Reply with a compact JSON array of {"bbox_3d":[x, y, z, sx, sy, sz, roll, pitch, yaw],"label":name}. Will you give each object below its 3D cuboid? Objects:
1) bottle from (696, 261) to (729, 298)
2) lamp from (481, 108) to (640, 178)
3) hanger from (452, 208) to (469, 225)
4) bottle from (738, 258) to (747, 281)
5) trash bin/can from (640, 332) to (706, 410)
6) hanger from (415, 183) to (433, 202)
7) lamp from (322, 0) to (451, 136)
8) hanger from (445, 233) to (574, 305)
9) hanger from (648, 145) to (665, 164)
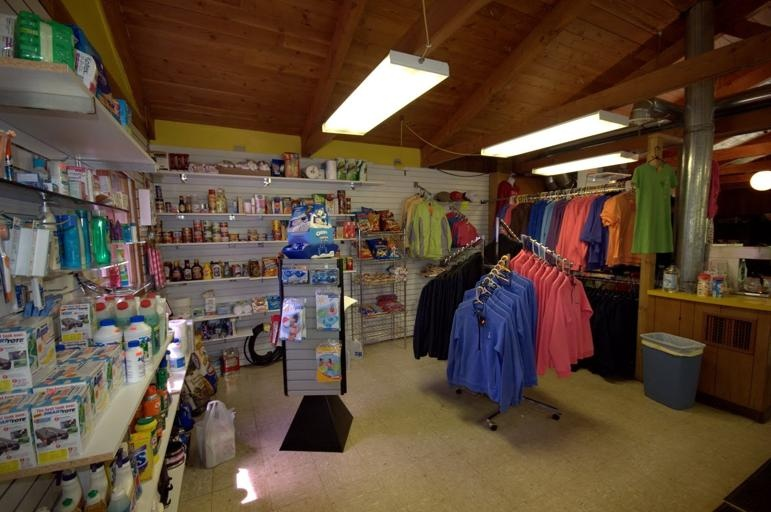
[{"bbox_3d":[3.729,0.259,5.481,0.319,0.477,0.411,2,2,35],"label":"bottle"},{"bbox_3d":[1.954,-1.424,5.653,0.657,0.222,1.595,-6,4,-31],"label":"lamp"},{"bbox_3d":[1.239,-0.671,7.908,0.214,0.224,0.448,-3,4,10],"label":"hanger"},{"bbox_3d":[4.199,0.159,5.610,0.063,0.256,0.201,0,5,41],"label":"bottle"},{"bbox_3d":[3.267,1.314,5.389,0.533,0.770,0.795,-3,7,-22],"label":"trash bin/can"},{"bbox_3d":[0.613,-1.025,7.645,0.292,0.314,0.396,-3,4,6],"label":"hanger"},{"bbox_3d":[-0.023,-1.586,5.085,0.678,1.047,2.206,9,-10,-22],"label":"lamp"},{"bbox_3d":[1.423,0.231,4.986,1.145,0.805,0.671,-6,4,-27],"label":"hanger"},{"bbox_3d":[3.294,-1.229,5.815,0.166,0.228,0.088,-4,4,3],"label":"hanger"}]
